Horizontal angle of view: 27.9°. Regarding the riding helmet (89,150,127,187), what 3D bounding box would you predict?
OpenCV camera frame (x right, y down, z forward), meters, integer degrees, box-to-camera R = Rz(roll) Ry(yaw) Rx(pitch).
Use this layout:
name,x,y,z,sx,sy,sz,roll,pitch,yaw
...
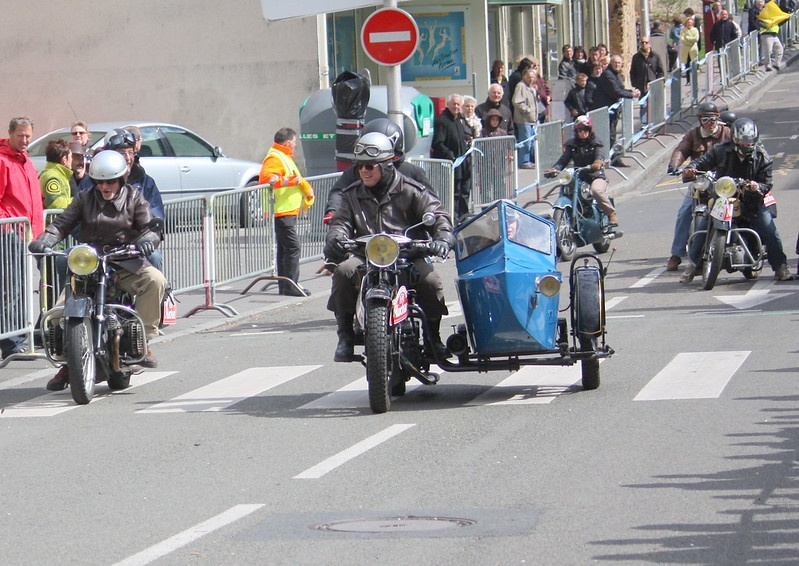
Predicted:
name,x,y,z,sx,sy,sz,roll,pitch,yaw
riding helmet,-2.929,-1.166,16.113,0.296,0.263,0.334,3,35,11

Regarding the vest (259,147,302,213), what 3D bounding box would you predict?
name,x,y,z,sx,sy,sz,roll,pitch,yaw
vest,-1.559,-1.316,21.523,0.549,1.066,1.103,-1,8,2

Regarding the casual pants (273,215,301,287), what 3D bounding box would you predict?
name,x,y,z,sx,sy,sz,roll,pitch,yaw
casual pants,-1.506,-0.466,21.497,0.319,1.075,0.364,-4,-6,-37

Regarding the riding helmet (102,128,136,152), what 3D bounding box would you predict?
name,x,y,z,sx,sy,sz,roll,pitch,yaw
riding helmet,-3.010,-1.544,17.294,0.239,0.240,0.311,-10,-4,-26

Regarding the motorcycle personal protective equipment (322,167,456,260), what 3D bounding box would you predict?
name,x,y,z,sx,sy,sz,roll,pitch,yaw
motorcycle personal protective equipment,-0.105,-0.633,15.248,1.204,0.815,0.973,5,27,4

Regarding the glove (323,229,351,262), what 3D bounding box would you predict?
name,x,y,z,sx,sy,sz,roll,pitch,yaw
glove,-0.595,-0.310,15.089,0.131,0.214,0.298,-30,2,-23

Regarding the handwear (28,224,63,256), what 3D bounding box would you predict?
name,x,y,z,sx,sy,sz,roll,pitch,yaw
handwear,-3.475,-0.417,15.835,0.184,0.116,0.324,36,46,22

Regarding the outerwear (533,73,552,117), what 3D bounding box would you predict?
name,x,y,z,sx,sy,sz,roll,pitch,yaw
outerwear,2.888,-3.957,34.061,0.366,0.869,0.703,8,7,43

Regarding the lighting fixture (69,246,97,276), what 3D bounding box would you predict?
name,x,y,z,sx,sy,sz,roll,pitch,yaw
lighting fixture,-3.081,-0.220,15.738,0.287,0.325,0.225,-5,12,-10

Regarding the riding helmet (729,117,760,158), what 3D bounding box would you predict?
name,x,y,z,sx,sy,sz,roll,pitch,yaw
riding helmet,4.204,-1.854,19.716,0.339,0.430,0.443,-2,-31,6

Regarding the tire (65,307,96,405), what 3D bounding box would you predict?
name,x,y,z,sx,sy,sz,roll,pitch,yaw
tire,-3.102,0.736,15.745,0.211,0.887,0.478,-2,12,9

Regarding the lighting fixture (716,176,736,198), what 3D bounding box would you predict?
name,x,y,z,sx,sy,sz,roll,pitch,yaw
lighting fixture,3.957,-1.165,19.569,0.253,0.243,0.173,-1,12,10

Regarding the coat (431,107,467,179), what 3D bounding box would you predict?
name,x,y,z,sx,sy,sz,roll,pitch,yaw
coat,0.844,-2.343,26.172,0.537,0.963,0.738,13,32,33

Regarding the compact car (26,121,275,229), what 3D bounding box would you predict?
name,x,y,z,sx,sy,sz,roll,pitch,yaw
compact car,-4.105,-1.682,26.474,4.482,1.508,1.936,-7,9,-42

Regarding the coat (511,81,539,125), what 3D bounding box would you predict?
name,x,y,z,sx,sy,sz,roll,pitch,yaw
coat,2.426,-3.477,31.337,0.452,0.831,0.555,-3,12,2

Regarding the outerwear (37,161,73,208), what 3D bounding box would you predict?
name,x,y,z,sx,sy,sz,roll,pitch,yaw
outerwear,-3.937,-1.115,18.454,0.311,0.481,0.551,-2,13,9

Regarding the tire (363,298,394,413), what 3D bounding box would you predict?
name,x,y,z,sx,sy,sz,roll,pitch,yaw
tire,-0.185,0.692,14.757,0.249,1.070,0.376,-4,12,-1

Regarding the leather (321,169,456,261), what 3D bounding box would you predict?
name,x,y,z,sx,sy,sz,roll,pitch,yaw
leather,-0.125,-0.683,15.266,1.269,0.876,0.876,-6,7,4

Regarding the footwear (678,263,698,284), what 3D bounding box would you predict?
name,x,y,z,sx,sy,sz,roll,pitch,yaw
footwear,3.598,-0.125,20.192,0.122,0.147,0.354,8,23,35

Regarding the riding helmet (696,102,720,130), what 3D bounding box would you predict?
name,x,y,z,sx,sy,sz,roll,pitch,yaw
riding helmet,4.008,-2.135,20.929,0.307,0.353,0.361,-7,-13,8

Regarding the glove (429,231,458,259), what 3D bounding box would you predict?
name,x,y,z,sx,sy,sz,roll,pitch,yaw
glove,0.388,-0.346,14.963,0.225,0.255,0.404,-2,12,6

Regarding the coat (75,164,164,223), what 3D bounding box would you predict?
name,x,y,z,sx,sy,sz,roll,pitch,yaw
coat,-2.887,-0.959,17.144,1.055,0.505,0.620,2,4,13

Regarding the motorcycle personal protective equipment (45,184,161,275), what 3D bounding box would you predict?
name,x,y,z,sx,sy,sz,roll,pitch,yaw
motorcycle personal protective equipment,-2.996,-0.641,16.535,1.293,0.975,0.852,2,2,1

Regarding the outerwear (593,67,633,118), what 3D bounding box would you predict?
name,x,y,z,sx,sy,sz,roll,pitch,yaw
outerwear,4.282,-3.890,32.794,1.037,1.015,0.833,1,10,2

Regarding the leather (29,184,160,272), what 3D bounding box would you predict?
name,x,y,z,sx,sy,sz,roll,pitch,yaw
leather,-3.041,-0.641,16.252,1.200,0.796,0.877,0,5,-11

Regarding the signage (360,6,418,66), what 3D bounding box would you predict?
name,x,y,z,sx,sy,sz,roll,pitch,yaw
signage,-0.114,-2.937,19.364,0.632,0.673,0.294,-3,12,2

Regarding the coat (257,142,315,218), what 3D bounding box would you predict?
name,x,y,z,sx,sy,sz,roll,pitch,yaw
coat,-1.637,-1.313,21.305,0.875,1.218,1.156,-3,7,2

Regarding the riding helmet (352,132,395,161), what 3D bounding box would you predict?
name,x,y,z,sx,sy,sz,roll,pitch,yaw
riding helmet,-0.233,-1.266,15.012,0.295,0.182,0.296,1,4,7

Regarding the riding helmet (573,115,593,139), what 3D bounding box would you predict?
name,x,y,z,sx,sy,sz,roll,pitch,yaw
riding helmet,2.693,-2.258,23.520,0.277,0.328,0.363,-2,-9,14
